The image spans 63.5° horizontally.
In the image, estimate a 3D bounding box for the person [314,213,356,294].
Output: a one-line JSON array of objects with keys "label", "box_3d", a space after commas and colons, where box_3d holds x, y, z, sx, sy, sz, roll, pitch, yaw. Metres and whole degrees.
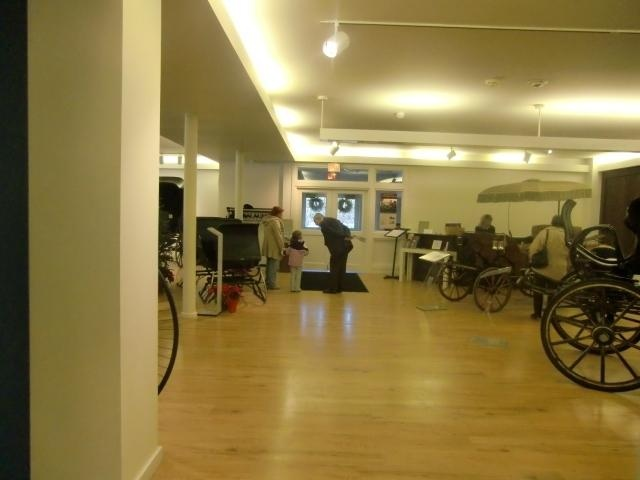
[{"label": "person", "box_3d": [0.238, 0.239, 9.392, 0.636, 1.430, 0.970, 1, 7, 0]}]

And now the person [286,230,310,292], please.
[{"label": "person", "box_3d": [-0.416, 0.360, 9.225, 0.320, 1.119, 0.843, 1, 7, -4]}]

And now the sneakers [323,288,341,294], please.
[{"label": "sneakers", "box_3d": [0.220, 0.909, 9.087, 0.285, 0.118, 0.108, 2, -1, 5]}]

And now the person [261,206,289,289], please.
[{"label": "person", "box_3d": [-0.887, 0.139, 9.533, 0.422, 1.570, 1.360, 0, 7, -7]}]

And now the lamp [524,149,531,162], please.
[{"label": "lamp", "box_3d": [3.430, -1.382, 8.567, 0.090, 0.194, 0.720, 3, 8, 20]}]
